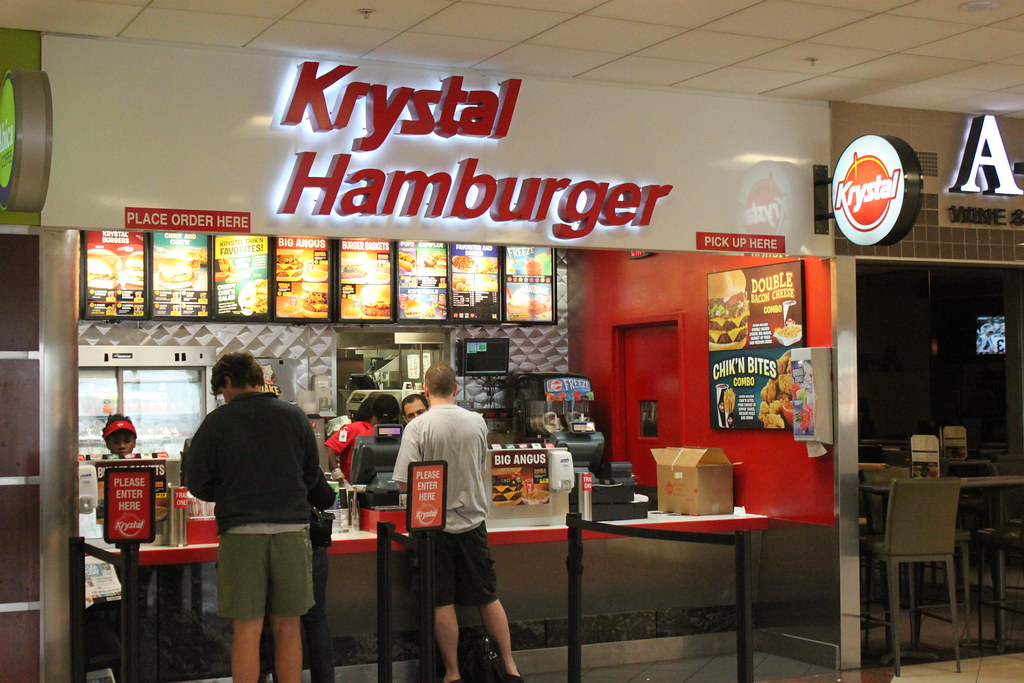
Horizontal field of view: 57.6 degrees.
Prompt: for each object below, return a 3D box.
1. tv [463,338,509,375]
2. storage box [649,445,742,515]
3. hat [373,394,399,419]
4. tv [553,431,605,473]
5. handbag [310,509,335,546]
[{"bbox_3d":[-0.302,0.153,9.936,0.430,0.283,0.043,0,-1,-11],"label":"tv"},{"bbox_3d":[1.560,1.164,7.787,0.448,0.541,0.651,1,-7,-36],"label":"storage box"},{"bbox_3d":[-1.208,0.616,8.889,0.233,0.244,0.220,4,-26,-6],"label":"hat"},{"bbox_3d":[0.576,0.966,8.063,0.367,0.357,0.545,-2,-2,17],"label":"tv"},{"bbox_3d":[-1.199,1.197,5.970,0.220,0.243,0.217,0,-1,-14],"label":"handbag"}]
